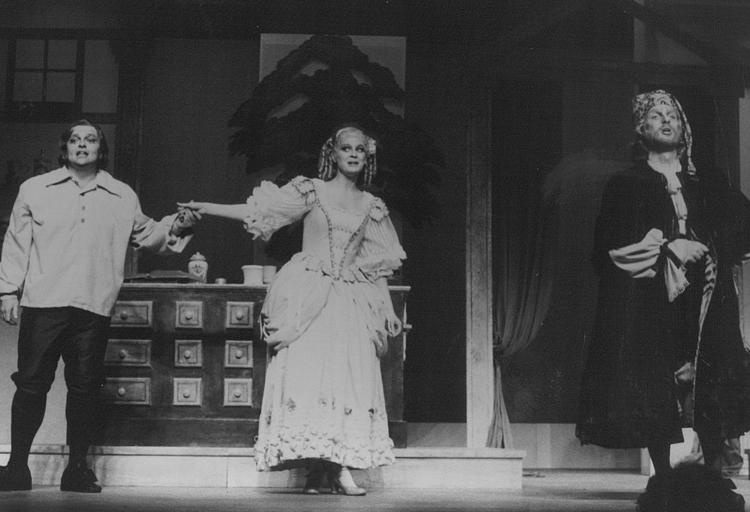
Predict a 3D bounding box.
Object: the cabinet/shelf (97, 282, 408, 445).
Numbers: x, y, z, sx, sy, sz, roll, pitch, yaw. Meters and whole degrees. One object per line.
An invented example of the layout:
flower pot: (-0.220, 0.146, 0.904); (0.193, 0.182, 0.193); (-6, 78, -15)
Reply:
cabinet/shelf: (-0.621, 0.587, 7.497); (0.654, 0.814, 1.812); (12, -11, -43)

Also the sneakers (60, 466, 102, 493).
sneakers: (-1.458, 1.101, 7.020); (0.215, 0.098, 0.111); (0, -4, -1)

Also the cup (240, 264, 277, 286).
cup: (-0.610, 0.099, 7.429); (0.177, 0.092, 0.102); (1, 2, 0)

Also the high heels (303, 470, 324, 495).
high heels: (-0.303, 1.113, 7.046); (0.095, 0.122, 0.108); (3, -9, 0)
